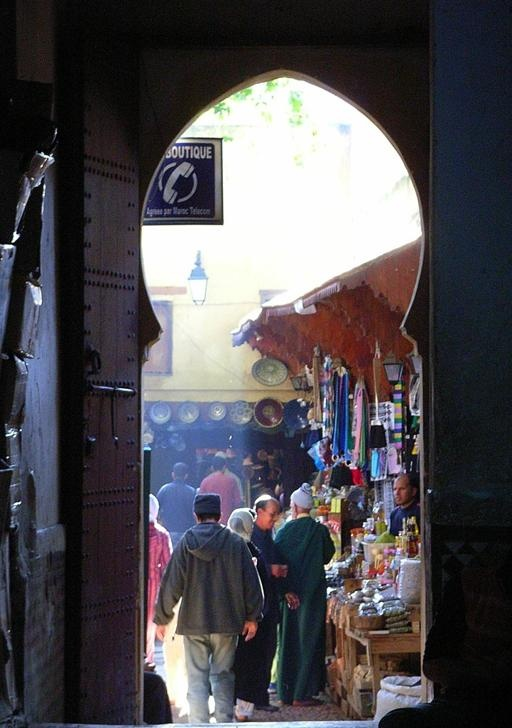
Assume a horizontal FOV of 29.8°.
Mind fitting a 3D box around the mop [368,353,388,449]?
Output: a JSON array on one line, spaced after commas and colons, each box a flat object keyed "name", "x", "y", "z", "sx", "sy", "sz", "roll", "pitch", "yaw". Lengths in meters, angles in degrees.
[{"name": "mop", "x": 0.963, "y": 0.274, "z": 7.626, "sx": 0.169, "sy": 0.791, "sz": 0.184, "roll": -2, "pitch": 3, "yaw": -24}]

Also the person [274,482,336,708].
[{"name": "person", "x": 0.342, "y": 1.650, "z": 6.809, "sx": 0.329, "sy": 1.309, "sz": 0.428, "roll": 2, "pitch": 0, "yaw": -4}]

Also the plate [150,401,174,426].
[{"name": "plate", "x": -1.404, "y": 0.756, "z": 14.169, "sx": 0.338, "sy": 0.335, "sz": 0.254, "roll": 1, "pitch": -3, "yaw": -2}]

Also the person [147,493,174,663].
[{"name": "person", "x": -0.675, "y": 1.420, "z": 6.487, "sx": 0.182, "sy": 1.191, "sz": 0.257, "roll": 2, "pitch": 3, "yaw": -15}]

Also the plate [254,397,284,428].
[{"name": "plate", "x": 0.182, "y": 0.686, "z": 13.041, "sx": 0.193, "sy": 0.426, "sz": 0.629, "roll": 3, "pitch": -4, "yaw": -39}]

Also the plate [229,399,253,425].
[{"name": "plate", "x": -0.205, "y": 0.727, "z": 13.840, "sx": 0.254, "sy": 0.347, "sz": 0.546, "roll": 2, "pitch": -3, "yaw": -27}]

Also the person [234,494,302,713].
[{"name": "person", "x": 0.044, "y": 1.623, "z": 6.500, "sx": 0.353, "sy": 1.407, "sz": 0.421, "roll": 2, "pitch": 1, "yaw": -23}]

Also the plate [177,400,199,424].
[{"name": "plate", "x": -0.988, "y": 0.739, "z": 14.153, "sx": 0.312, "sy": 0.325, "sz": 0.214, "roll": 1, "pitch": -3, "yaw": 3}]

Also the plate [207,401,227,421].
[{"name": "plate", "x": -0.568, "y": 0.722, "z": 14.139, "sx": 0.205, "sy": 0.273, "sz": 0.351, "roll": 3, "pitch": -3, "yaw": -32}]

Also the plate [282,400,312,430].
[{"name": "plate", "x": 0.507, "y": 0.678, "z": 12.338, "sx": 0.152, "sy": 0.406, "sz": 0.682, "roll": 2, "pitch": -3, "yaw": -18}]

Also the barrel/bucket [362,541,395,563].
[{"name": "barrel/bucket", "x": 0.847, "y": 1.314, "z": 6.715, "sx": 0.166, "sy": 0.095, "sz": 0.132, "roll": -1, "pitch": -4, "yaw": 6}]

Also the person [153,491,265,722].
[{"name": "person", "x": -0.282, "y": 1.502, "z": 5.849, "sx": 0.647, "sy": 1.381, "sz": 0.377, "roll": 1, "pitch": -3, "yaw": -2}]
